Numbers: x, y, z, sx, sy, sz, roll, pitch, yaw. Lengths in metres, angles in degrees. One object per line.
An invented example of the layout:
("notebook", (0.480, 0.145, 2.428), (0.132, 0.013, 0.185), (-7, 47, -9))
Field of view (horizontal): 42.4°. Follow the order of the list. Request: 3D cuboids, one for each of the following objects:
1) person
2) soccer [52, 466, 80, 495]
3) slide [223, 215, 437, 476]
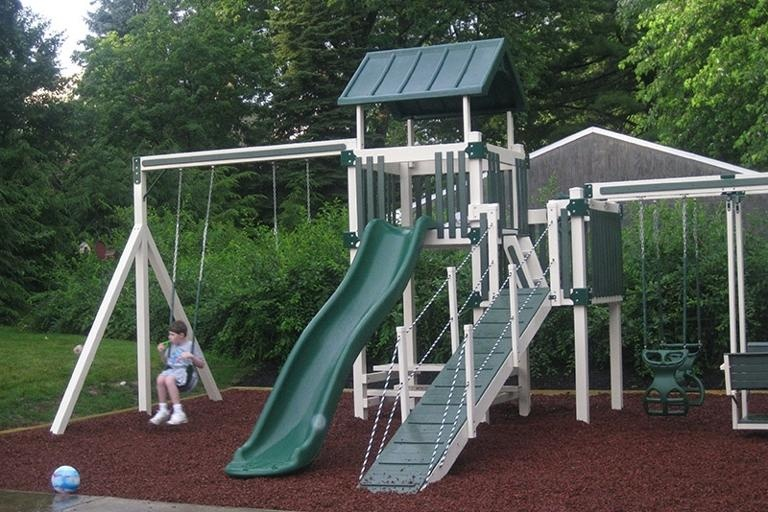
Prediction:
("person", (-4.022, 2.180, 18.804), (0.845, 1.982, 1.121), (-6, -3, 28))
("soccer", (-4.962, 3.563, 15.646), (0.386, 0.469, 0.397), (-20, -33, 39))
("slide", (-0.815, 1.376, 17.549), (1.177, 2.467, 6.197), (1, 22, 31))
